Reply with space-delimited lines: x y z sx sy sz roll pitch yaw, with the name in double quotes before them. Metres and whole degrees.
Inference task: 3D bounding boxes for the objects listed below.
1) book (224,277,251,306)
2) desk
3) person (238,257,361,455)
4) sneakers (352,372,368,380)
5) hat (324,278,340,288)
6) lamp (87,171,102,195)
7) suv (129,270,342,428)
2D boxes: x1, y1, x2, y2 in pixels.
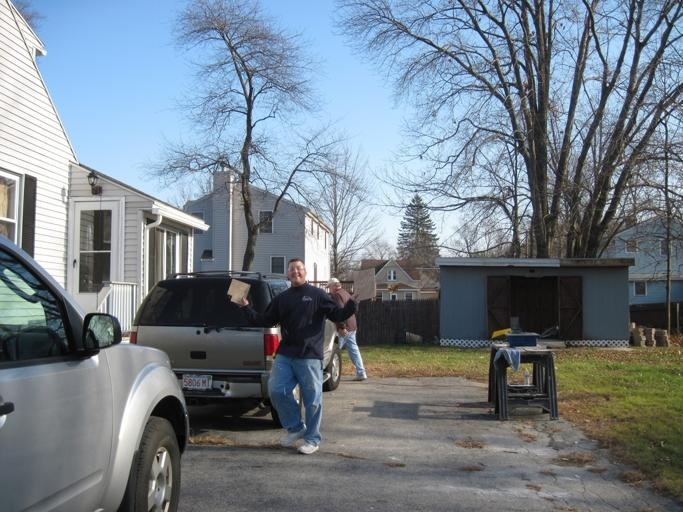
"book" -1.217 0.426 7.479 0.215 0.315 0.316 0 -5 -5
"desk" 2.735 1.882 9.595 1.027 1.062 1.456 -2 -5 13
"person" -0.519 1.172 7.652 1.179 2.291 0.508 0 -4 -1
"sneakers" 0.355 2.472 13.047 0.319 0.161 0.120 -3 -4 40
"hat" -0.288 0.708 16.537 0.537 0.287 0.568 0 -7 -6
"lamp" -5.505 -1.618 14.117 0.299 0.499 0.373 0 -5 -11
"suv" -1.411 1.250 9.293 1.573 1.434 2.770 -1 -2 15
